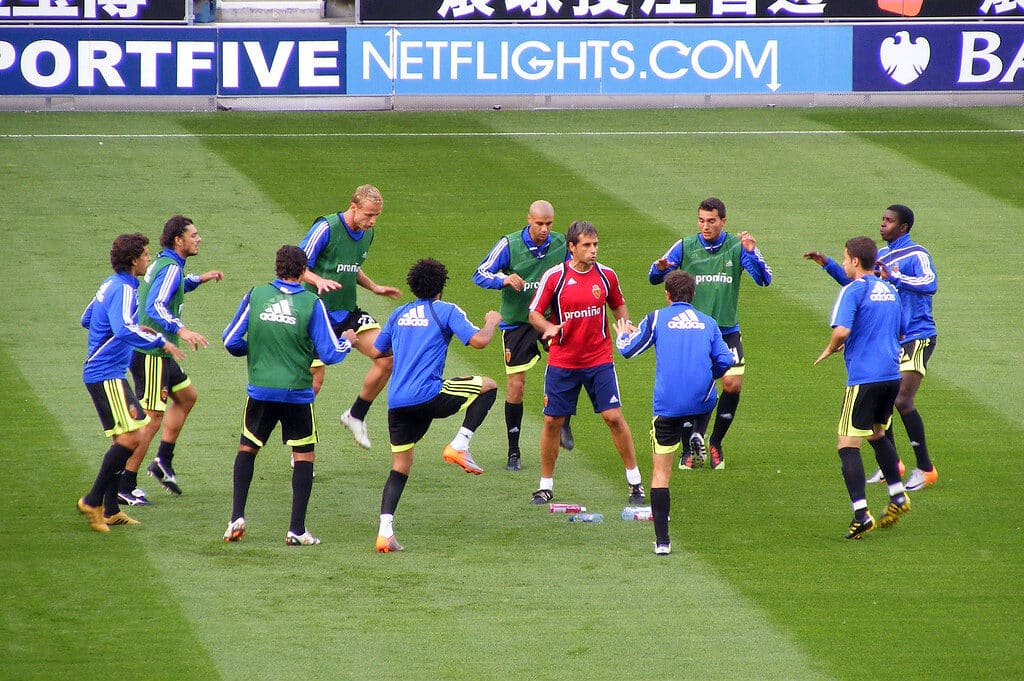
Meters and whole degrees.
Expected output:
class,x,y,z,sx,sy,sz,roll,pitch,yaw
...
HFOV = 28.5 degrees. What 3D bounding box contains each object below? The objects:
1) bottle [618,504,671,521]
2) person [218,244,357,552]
class,x,y,z,sx,sy,sz,roll,pitch,yaw
bottle,1.682,2.103,24.705,0.447,0.118,0.311,1,0,8
person,-2.759,0.662,24.237,1.305,3.528,0.677,2,8,-8
